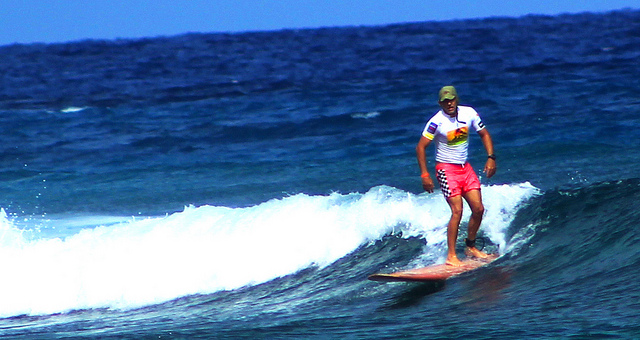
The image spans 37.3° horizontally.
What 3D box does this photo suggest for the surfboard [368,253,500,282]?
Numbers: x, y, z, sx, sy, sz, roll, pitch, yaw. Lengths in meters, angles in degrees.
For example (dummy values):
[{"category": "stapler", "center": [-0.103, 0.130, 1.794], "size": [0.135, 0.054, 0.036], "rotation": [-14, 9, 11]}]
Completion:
[{"category": "surfboard", "center": [4.113, 3.328, 32.262], "size": [5.232, 0.561, 0.329], "rotation": [-6, 48, -6]}]
